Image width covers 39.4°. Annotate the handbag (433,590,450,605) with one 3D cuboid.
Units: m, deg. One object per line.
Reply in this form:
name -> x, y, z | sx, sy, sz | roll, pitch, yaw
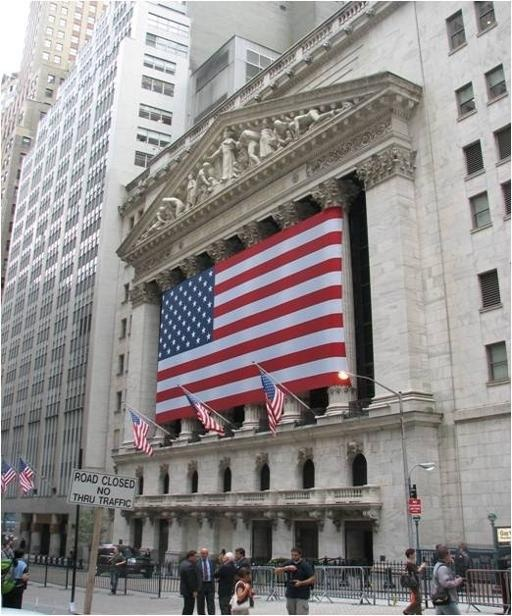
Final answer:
handbag -> 3.856, 6.042, 14.857 | 0.365, 0.314, 0.245 | 2, -30, 24
